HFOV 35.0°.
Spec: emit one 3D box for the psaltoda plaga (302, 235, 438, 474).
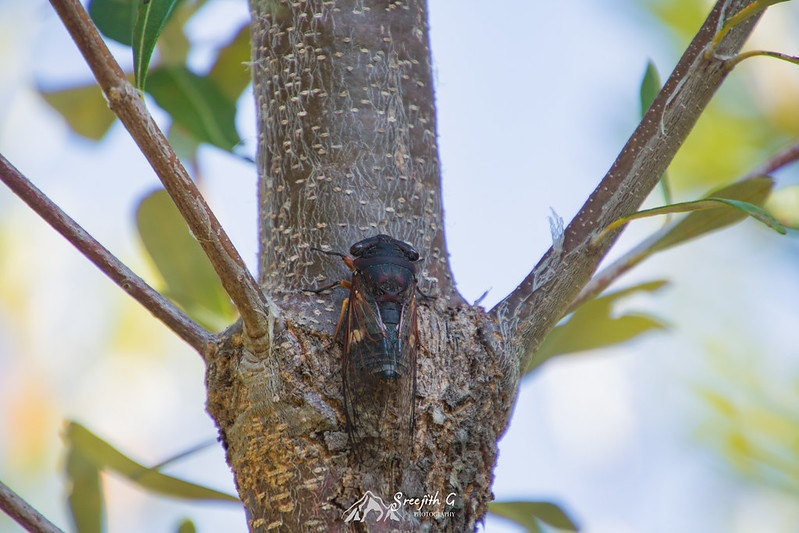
[{"bbox_3d":[-0.055,0.237,3.358,0.332,0.157,0.604,3,73,-13],"label":"psaltoda plaga"}]
